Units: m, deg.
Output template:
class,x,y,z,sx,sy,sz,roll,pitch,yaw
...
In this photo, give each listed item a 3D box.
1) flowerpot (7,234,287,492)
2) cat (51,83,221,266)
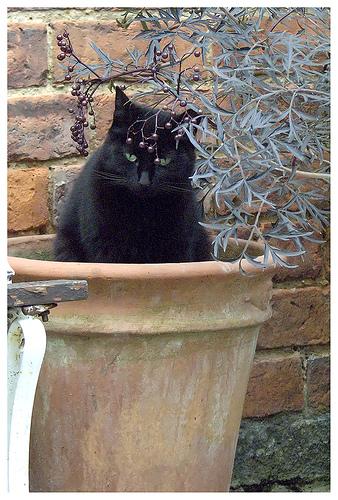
class,x,y,z,sx,sy,sz,roll,pitch,yaw
flowerpot,-0.031,0.177,1.237,0.480,0.350,0.424,2,3,-7
cat,-0.068,-0.098,1.415,0.291,0.310,0.427,7,3,-4
